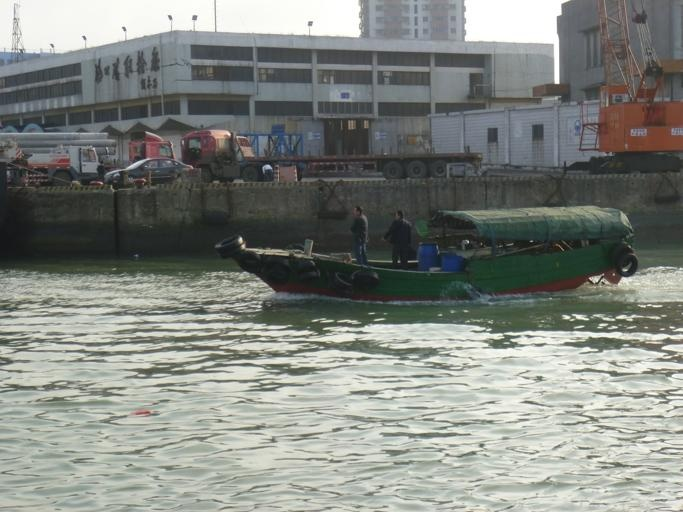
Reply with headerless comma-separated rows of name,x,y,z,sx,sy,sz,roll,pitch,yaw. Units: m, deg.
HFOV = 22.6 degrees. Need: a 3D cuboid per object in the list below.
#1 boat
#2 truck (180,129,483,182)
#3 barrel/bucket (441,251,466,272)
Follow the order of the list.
boat,3.635,0.080,71.197,17.287,3.385,4.369,-2,-3,-11
truck,-0.827,-5.251,92.943,16.366,2.829,2.877,-3,0,-16
barrel/bucket,4.430,0.196,69.888,0.881,0.781,0.822,-1,-4,0
